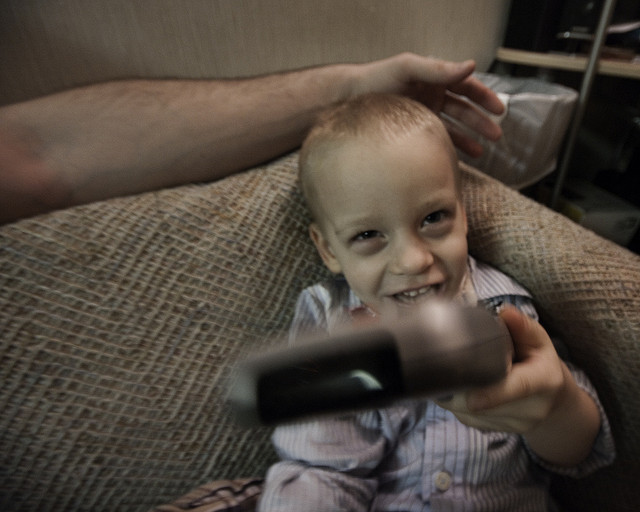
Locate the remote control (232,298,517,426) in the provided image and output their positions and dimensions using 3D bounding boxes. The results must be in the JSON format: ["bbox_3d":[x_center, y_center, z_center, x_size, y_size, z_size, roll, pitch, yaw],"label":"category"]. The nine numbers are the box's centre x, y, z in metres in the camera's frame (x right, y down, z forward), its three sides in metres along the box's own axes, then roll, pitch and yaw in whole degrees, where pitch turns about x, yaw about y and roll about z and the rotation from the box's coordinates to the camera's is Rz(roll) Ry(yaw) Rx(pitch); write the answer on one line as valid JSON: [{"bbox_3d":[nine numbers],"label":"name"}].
[{"bbox_3d":[0.034,0.064,0.312,0.101,0.099,0.036,-19,84,5],"label":"remote control"}]
